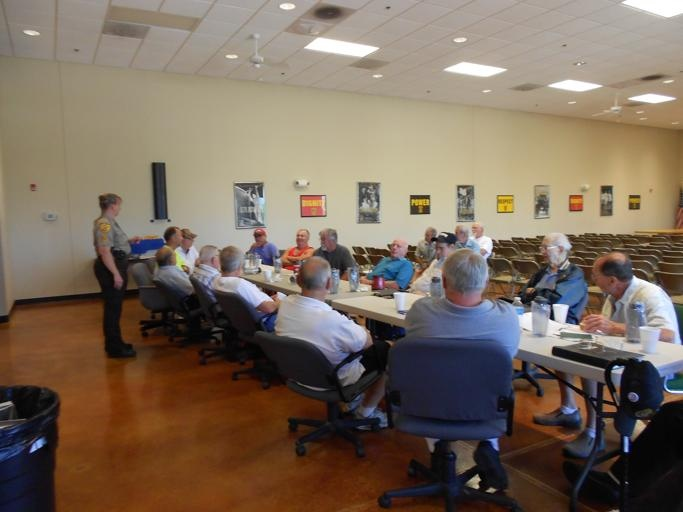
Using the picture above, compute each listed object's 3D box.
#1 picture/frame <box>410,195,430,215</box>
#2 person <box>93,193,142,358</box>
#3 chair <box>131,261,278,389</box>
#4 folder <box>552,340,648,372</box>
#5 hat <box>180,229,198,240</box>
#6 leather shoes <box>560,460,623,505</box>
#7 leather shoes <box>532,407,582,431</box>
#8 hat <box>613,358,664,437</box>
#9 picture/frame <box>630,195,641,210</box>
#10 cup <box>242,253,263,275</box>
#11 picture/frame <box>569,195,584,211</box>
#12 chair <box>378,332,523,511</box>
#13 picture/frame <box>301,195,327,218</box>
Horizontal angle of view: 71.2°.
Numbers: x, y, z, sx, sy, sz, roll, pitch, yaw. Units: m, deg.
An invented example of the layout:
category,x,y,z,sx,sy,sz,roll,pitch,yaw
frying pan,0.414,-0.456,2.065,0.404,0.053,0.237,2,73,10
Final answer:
category,x,y,z,sx,sy,sz,roll,pitch,yaw
picture/frame,1.980,-1.284,11.957,0.616,0.461,0.133,1,4,-25
person,-2.499,0.214,5.218,0.366,1.781,0.425,-3,8,-25
chair,-1.184,0.630,4.721,1.232,1.271,1.203,-11,10,-22
folder,1.369,0.533,2.520,0.229,0.040,0.227,-4,6,-34
hat,-2.442,-0.357,7.609,0.405,0.125,0.318,13,14,42
leather shoes,1.433,1.301,2.731,0.229,0.203,0.280,2,7,8
leather shoes,1.616,1.215,3.586,0.375,0.126,0.135,1,-2,15
hat,1.430,0.685,2.292,0.182,0.418,0.196,5,8,28
picture/frame,10.094,-1.871,16.400,0.592,0.483,0.072,-5,16,-25
cup,-1.183,0.090,6.188,0.335,0.275,0.231,-1,4,20
picture/frame,7.313,-1.672,14.852,0.628,0.471,0.075,-2,11,-27
chair,0.613,0.924,2.633,0.780,1.064,0.440,3,8,17
picture/frame,-0.642,-1.126,10.591,0.618,0.378,0.043,-4,5,-36
